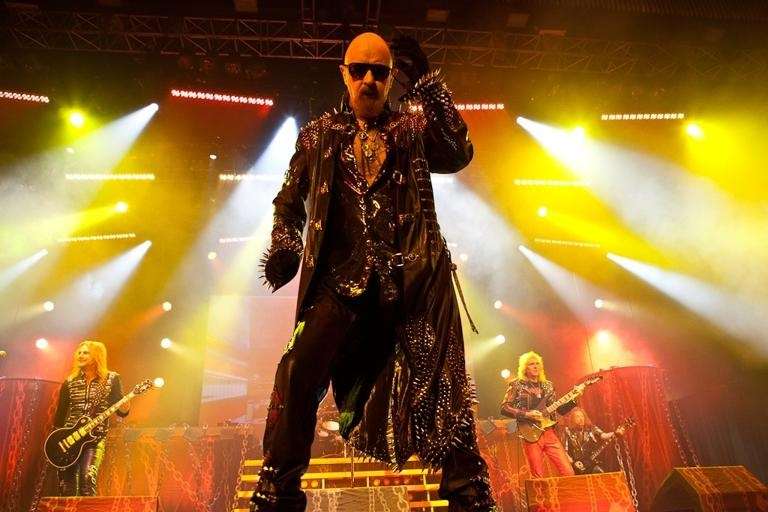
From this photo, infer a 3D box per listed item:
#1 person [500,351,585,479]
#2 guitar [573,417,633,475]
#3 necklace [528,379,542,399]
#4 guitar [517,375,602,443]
[{"bbox_3d":[3.039,3.412,10.335,1.152,3.162,0.832,-10,15,24],"label":"person"},{"bbox_3d":[4.010,3.510,9.982,1.091,1.183,0.402,-6,-27,16],"label":"guitar"},{"bbox_3d":[2.992,2.642,10.445,0.213,0.292,0.106,-1,-70,7],"label":"necklace"},{"bbox_3d":[3.430,3.056,10.299,1.612,0.483,0.233,-37,-28,-21],"label":"guitar"}]
